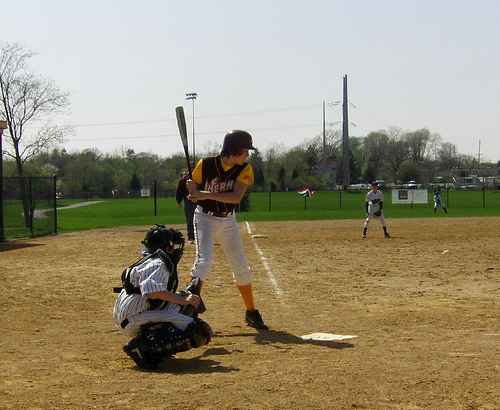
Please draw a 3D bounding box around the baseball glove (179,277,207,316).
[{"bbox_3d":[-0.684,1.075,8.999,0.219,0.517,0.169,2,-2,-7],"label":"baseball glove"}]

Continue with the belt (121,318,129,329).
[{"bbox_3d":[-1.433,1.335,8.633,0.110,0.125,0.009,2,7,21],"label":"belt"}]

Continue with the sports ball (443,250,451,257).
[{"bbox_3d":[3.952,0.967,15.216,0.107,0.123,0.142,-6,2,-27],"label":"sports ball"}]

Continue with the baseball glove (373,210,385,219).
[{"bbox_3d":[3.650,0.281,21.624,0.190,0.117,0.293,-10,-11,-8],"label":"baseball glove"}]

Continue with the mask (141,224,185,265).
[{"bbox_3d":[-1.030,0.473,8.838,0.501,0.496,0.376,7,-13,-44],"label":"mask"}]

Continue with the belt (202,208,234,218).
[{"bbox_3d":[-0.384,0.090,9.405,0.432,0.125,0.145,-4,8,-28],"label":"belt"}]

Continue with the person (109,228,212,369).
[{"bbox_3d":[-0.962,1.049,8.892,0.969,1.643,1.112,-6,-8,32],"label":"person"}]

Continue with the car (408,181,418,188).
[{"bbox_3d":[15.080,-1.761,70.343,0.833,0.750,1.514,2,6,13],"label":"car"}]
